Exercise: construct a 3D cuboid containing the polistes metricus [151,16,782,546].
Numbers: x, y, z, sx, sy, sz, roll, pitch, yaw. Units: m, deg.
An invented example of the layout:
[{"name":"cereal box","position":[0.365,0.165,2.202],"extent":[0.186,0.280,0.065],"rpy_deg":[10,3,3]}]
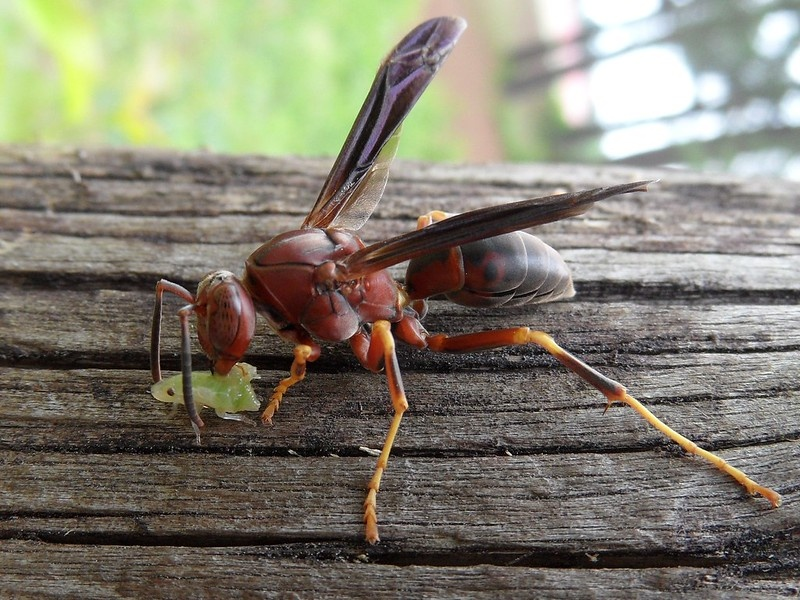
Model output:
[{"name":"polistes metricus","position":[0.028,-0.158,4.028],"extent":[2.008,2.241,1.081],"rpy_deg":[16,10,-3]}]
